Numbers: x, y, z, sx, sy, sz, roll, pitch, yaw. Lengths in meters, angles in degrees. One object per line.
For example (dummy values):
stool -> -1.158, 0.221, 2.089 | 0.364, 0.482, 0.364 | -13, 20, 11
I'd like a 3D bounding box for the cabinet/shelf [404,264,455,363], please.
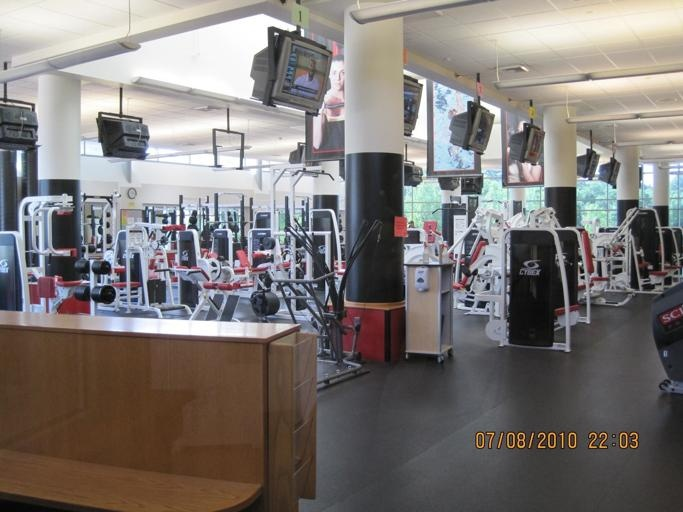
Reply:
cabinet/shelf -> 1.111, 0.669, 6.811 | 0.569, 1.211, 0.504 | 2, 5, 20
